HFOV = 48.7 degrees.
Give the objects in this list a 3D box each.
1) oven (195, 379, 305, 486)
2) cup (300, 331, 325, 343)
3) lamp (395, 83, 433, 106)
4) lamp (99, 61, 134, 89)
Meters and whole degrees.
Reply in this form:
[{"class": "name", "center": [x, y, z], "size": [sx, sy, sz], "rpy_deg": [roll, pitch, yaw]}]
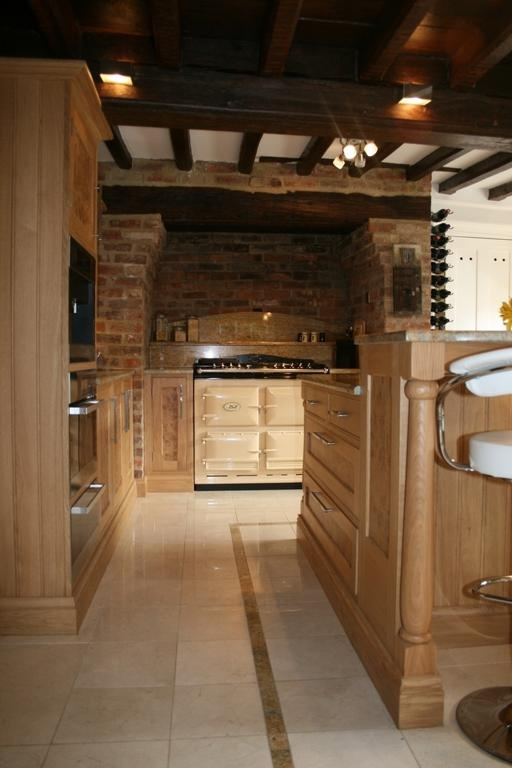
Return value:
[{"class": "oven", "center": [0.038, 0.342, 4.602], "size": [0.964, 0.876, 0.510], "rpy_deg": [0, 21, -2]}, {"class": "cup", "center": [0.534, -0.434, 5.283], "size": [0.287, 0.118, 0.156], "rpy_deg": [-1, 1, -12]}, {"class": "lamp", "center": [0.790, -1.432, 2.816], "size": [0.162, 0.070, 0.179], "rpy_deg": [0, 1, 17]}, {"class": "lamp", "center": [-0.641, -1.418, 2.591], "size": [0.152, 0.064, 0.110], "rpy_deg": [0, 1, -8]}]
